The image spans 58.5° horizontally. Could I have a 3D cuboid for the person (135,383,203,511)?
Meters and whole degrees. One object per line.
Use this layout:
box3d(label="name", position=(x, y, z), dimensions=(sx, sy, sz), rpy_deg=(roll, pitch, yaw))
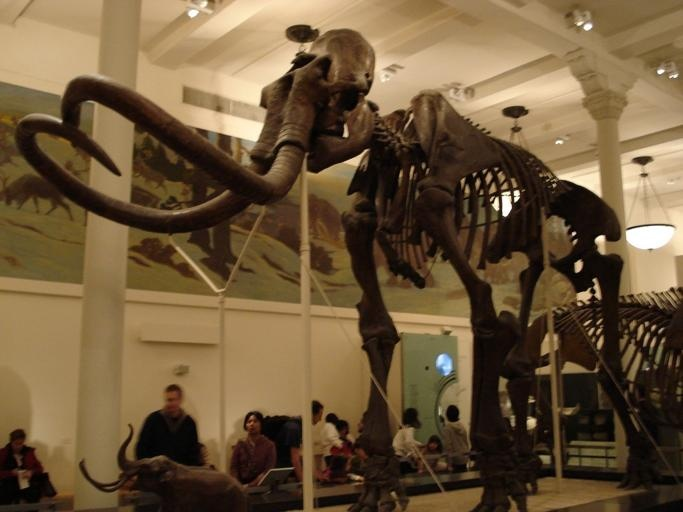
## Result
box3d(label="person", position=(-1.933, 1.896, 6.882), dimensions=(0.720, 0.850, 0.911), rpy_deg=(2, -14, -17))
